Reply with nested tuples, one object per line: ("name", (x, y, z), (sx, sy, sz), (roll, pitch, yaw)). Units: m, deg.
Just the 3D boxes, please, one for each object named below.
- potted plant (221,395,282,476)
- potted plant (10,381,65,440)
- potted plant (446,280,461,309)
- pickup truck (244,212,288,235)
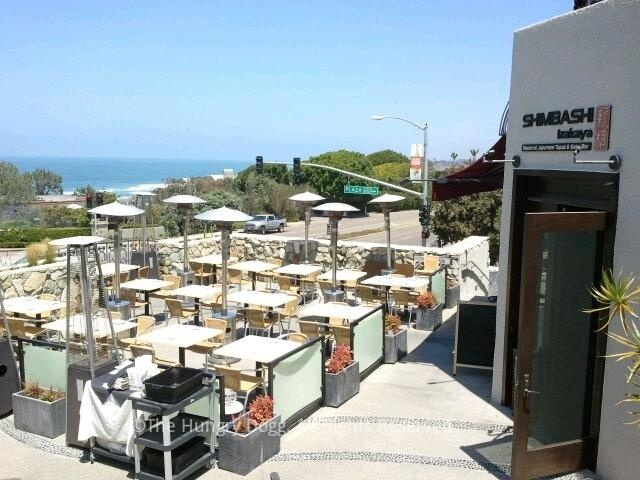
("potted plant", (-0.903, 2.565, 7.380), (0.384, 0.862, 0.819), (3, 6, 32))
("potted plant", (-4.043, 2.460, 8.257), (0.670, 0.532, 0.439), (8, 8, 8))
("potted plant", (3.326, 1.360, 14.307), (0.323, 0.489, 0.668), (2, 7, 22))
("pickup truck", (-3.985, -1.106, 39.277), (1.857, 1.270, 2.938), (1, 7, 26))
